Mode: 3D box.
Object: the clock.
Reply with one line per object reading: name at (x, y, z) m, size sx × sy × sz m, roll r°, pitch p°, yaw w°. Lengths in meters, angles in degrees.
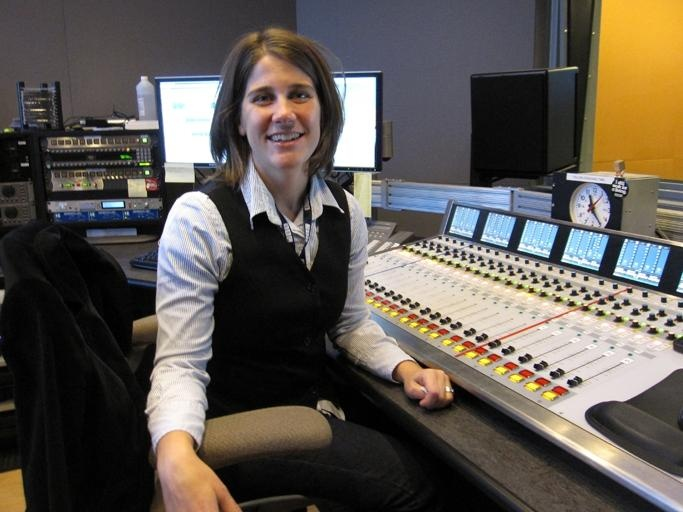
clock at (0.891, -0.168, 1.631) m, size 0.340 × 0.204 × 0.212 m, roll 5°, pitch 17°, yaw 21°
